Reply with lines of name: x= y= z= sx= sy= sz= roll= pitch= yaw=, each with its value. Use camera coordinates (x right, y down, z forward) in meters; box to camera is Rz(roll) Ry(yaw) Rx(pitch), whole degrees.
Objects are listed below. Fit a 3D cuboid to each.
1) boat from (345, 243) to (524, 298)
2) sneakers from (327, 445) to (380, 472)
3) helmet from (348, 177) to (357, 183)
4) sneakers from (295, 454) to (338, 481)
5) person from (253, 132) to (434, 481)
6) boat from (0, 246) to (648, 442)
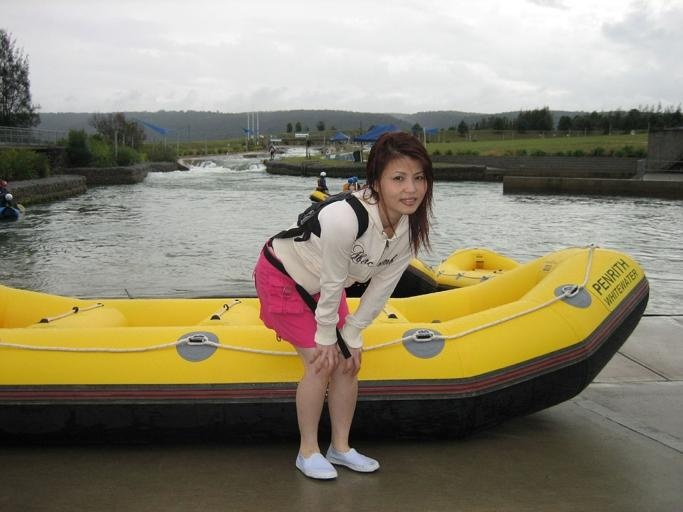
boat: x=1.356 y=0.205 z=7.909 sx=1.539 sy=0.436 sz=0.907 roll=-2 pitch=11 yaw=-1
sneakers: x=0.074 y=1.215 z=3.837 sx=0.319 sy=0.120 sz=0.129 roll=8 pitch=5 yaw=10
helmet: x=0.276 y=-1.807 z=15.003 sx=0.195 sy=0.094 sz=0.244 roll=0 pitch=9 yaw=5
sneakers: x=-0.141 y=1.216 z=3.686 sx=0.232 sy=0.085 sz=0.125 roll=2 pitch=2 yaw=44
person: x=0.018 y=0.307 z=3.613 sx=1.002 sy=1.993 sz=0.382 roll=-2 pitch=13 yaw=-9
boat: x=-0.089 y=0.594 z=4.534 sx=4.383 sy=1.100 sz=1.932 roll=-2 pitch=11 yaw=-1
